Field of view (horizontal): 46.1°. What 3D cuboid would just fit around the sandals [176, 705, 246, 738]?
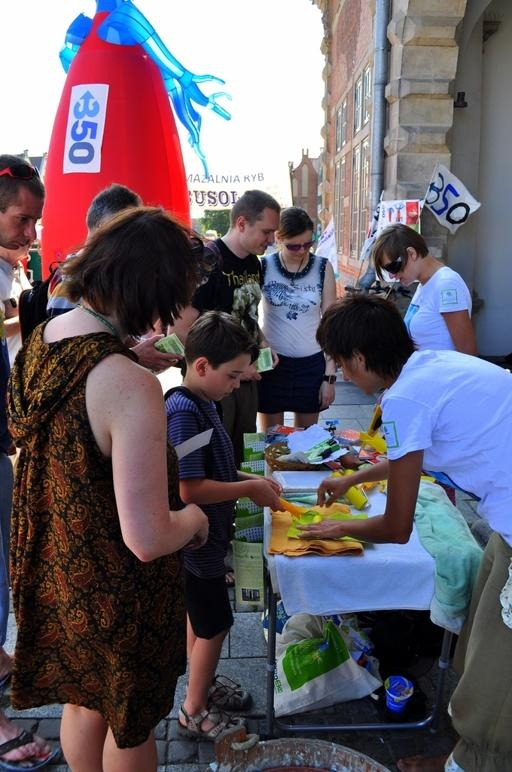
[{"bbox_3d":[-0.149,1.154,2.038,0.251,0.110,0.110,-2,2,0],"label":"sandals"}]

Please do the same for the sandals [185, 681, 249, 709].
[{"bbox_3d":[-0.117,1.134,2.207,0.172,0.065,0.082,1,14,-2],"label":"sandals"}]

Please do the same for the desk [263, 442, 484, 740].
[{"bbox_3d":[0.262,0.738,2.114,0.584,0.438,0.936,4,8,-4],"label":"desk"}]

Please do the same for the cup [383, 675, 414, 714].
[{"bbox_3d":[0.511,1.104,2.163,0.087,0.081,0.085,-1,12,0],"label":"cup"}]
